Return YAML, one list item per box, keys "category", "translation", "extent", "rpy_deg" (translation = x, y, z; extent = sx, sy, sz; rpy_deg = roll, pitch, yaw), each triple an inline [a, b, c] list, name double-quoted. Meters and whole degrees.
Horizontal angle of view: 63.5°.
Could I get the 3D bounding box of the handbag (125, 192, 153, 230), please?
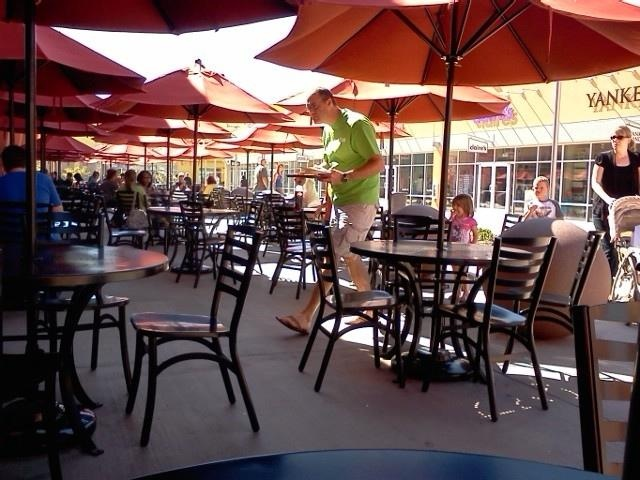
- category: "handbag"
  translation: [-3.266, -0.526, 9.315]
  extent: [0.513, 0.681, 0.490]
  rpy_deg: [-4, -6, 19]
